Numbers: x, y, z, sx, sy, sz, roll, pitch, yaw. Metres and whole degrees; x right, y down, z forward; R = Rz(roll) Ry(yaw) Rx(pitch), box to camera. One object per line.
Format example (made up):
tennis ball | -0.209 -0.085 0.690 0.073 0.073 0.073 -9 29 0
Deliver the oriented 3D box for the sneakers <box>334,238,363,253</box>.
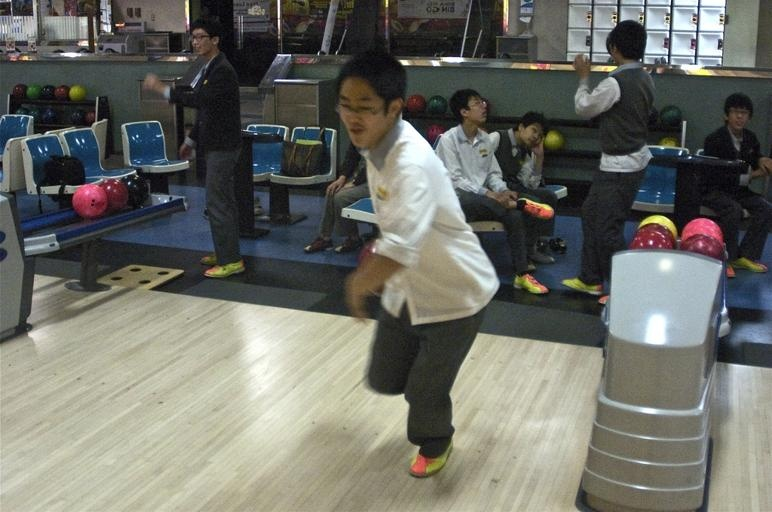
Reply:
sneakers | -0.367 -0.108 6.089 0.323 0.125 0.117 -9 11 -42

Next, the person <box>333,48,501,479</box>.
person | 0.157 0.147 2.717 0.694 2.073 0.536 -2 16 -5

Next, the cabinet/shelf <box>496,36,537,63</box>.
cabinet/shelf | 1.970 -3.147 8.922 0.577 0.465 1.711 2 15 12

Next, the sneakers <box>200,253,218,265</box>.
sneakers | -1.697 0.028 5.657 0.237 0.092 0.109 5 7 24

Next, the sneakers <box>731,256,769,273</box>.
sneakers | 3.407 0.065 5.606 0.370 0.144 0.130 4 18 28

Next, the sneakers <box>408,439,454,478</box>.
sneakers | 0.245 1.063 3.093 0.118 0.093 0.288 9 22 37

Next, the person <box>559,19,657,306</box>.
person | 1.790 -0.737 4.781 0.608 2.172 0.380 5 17 21

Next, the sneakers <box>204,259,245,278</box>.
sneakers | -1.456 0.103 5.383 0.381 0.156 0.134 -3 13 -21

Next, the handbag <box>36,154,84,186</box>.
handbag | -3.443 -0.934 6.354 0.417 0.387 0.288 -3 18 -8

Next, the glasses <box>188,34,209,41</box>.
glasses | -1.597 -1.868 5.102 0.094 0.028 0.095 3 9 14

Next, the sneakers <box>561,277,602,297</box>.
sneakers | 1.670 0.267 5.088 0.325 0.159 0.121 14 13 22

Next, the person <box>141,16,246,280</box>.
person | -1.598 -0.954 5.322 0.606 2.216 0.991 -5 16 -13

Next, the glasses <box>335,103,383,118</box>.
glasses | -0.115 -0.606 2.480 0.096 0.029 0.101 2 5 23

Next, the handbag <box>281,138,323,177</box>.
handbag | -0.931 -1.084 6.490 0.471 0.441 0.268 10 7 20
